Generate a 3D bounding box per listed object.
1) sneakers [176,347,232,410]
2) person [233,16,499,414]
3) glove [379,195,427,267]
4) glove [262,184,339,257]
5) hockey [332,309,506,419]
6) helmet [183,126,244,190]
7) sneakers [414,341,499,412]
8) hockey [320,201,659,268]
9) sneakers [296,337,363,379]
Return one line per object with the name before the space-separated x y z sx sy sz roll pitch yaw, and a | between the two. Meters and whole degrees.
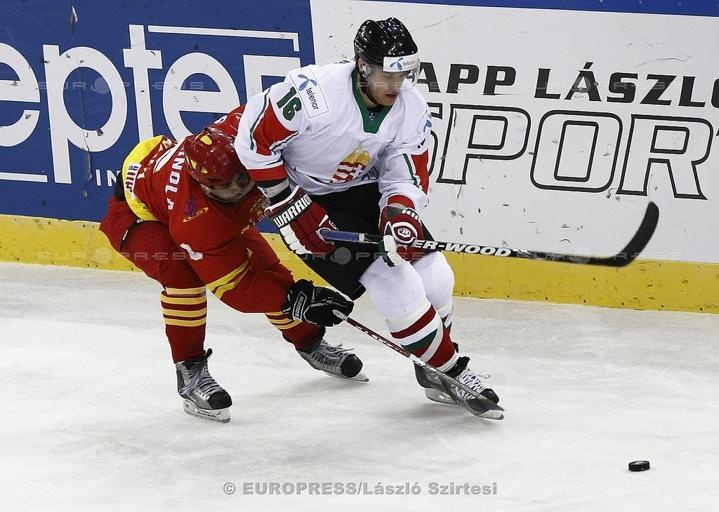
sneakers | -0.670 0.543 3.617 0.137 0.207 0.355 -11 11 -44
person | 0.041 -0.159 3.482 1.091 1.582 0.355 5 12 7
glove | 0.138 -0.108 3.425 0.190 0.268 0.101 8 -38 -36
glove | -0.232 -0.155 3.478 0.227 0.295 0.136 -39 2 14
hockey | 0.249 0.495 3.724 0.718 0.037 0.186 27 -17 4
helmet | -0.587 -0.391 3.478 0.201 0.246 0.255 -51 29 -21
sneakers | 0.371 0.500 3.626 0.487 0.155 0.224 20 -18 48
hockey | 0.724 -0.108 4.209 1.251 0.263 0.119 6 44 3
sneakers | -0.110 0.489 3.932 0.146 0.147 0.414 -11 4 -37
